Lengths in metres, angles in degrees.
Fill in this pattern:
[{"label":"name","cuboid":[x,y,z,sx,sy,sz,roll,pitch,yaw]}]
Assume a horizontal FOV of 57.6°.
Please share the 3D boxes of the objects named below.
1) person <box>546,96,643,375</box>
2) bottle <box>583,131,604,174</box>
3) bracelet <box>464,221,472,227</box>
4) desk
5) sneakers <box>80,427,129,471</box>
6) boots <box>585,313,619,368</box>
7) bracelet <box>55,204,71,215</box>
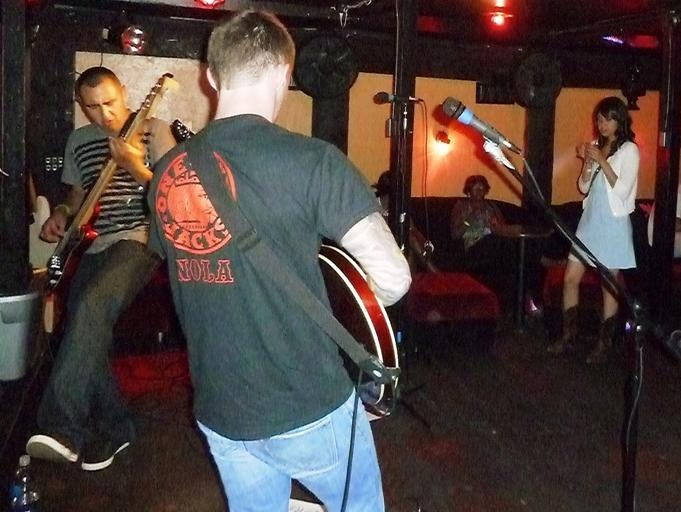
[{"label":"person","cuboid":[1.686,-0.138,4.074,0.493,1.750,0.413,8,14,31]},{"label":"bottle","cuboid":[1.678,-0.654,4.066,0.107,0.232,0.213,-5,11,8]},{"label":"bracelet","cuboid":[1.027,-0.263,5.054,0.008,0.042,0.035,-21,25,-38]},{"label":"desk","cuboid":[1.466,0.095,5.115,0.437,0.745,0.768,8,17,28]},{"label":"sneakers","cuboid":[-1.185,0.987,3.159,0.248,0.101,0.175,-7,18,-24]},{"label":"boots","cuboid":[1.735,0.553,4.121,0.068,0.346,0.180,9,10,-5]},{"label":"bracelet","cuboid":[-1.492,-0.257,3.354,0.052,0.068,0.057,11,7,11]}]
